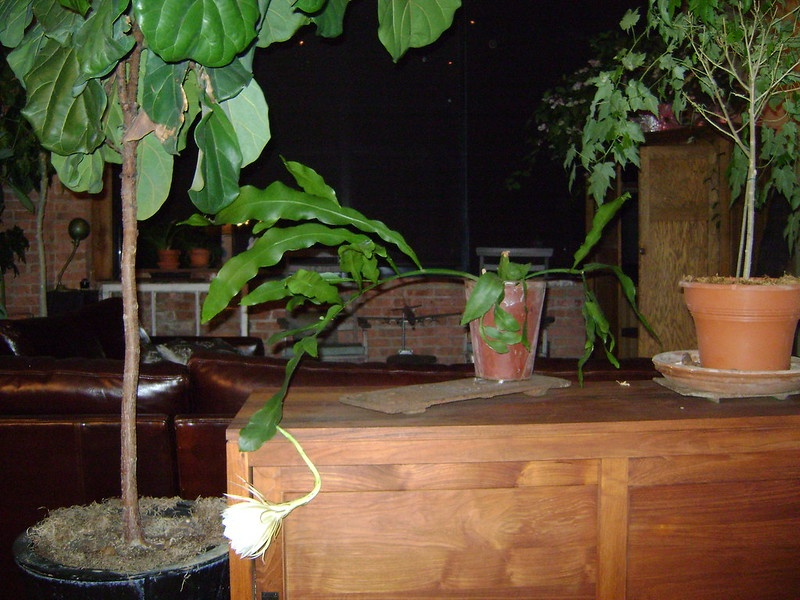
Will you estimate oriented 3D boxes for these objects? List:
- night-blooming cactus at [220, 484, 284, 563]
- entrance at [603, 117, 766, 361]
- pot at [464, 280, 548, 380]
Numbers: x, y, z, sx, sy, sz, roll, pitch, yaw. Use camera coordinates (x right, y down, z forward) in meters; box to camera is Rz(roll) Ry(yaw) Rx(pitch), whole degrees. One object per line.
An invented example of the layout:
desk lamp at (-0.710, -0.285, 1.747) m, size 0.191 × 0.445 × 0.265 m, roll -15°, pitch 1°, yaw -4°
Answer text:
night-blooming cactus at (-0.281, 0.443, 1.385) m, size 0.117 × 0.156 × 0.105 m, roll -2°, pitch 2°, yaw -11°
entrance at (1.633, -0.257, 4.161) m, size 0.091 × 1.336 × 0.459 m, roll -17°, pitch 14°, yaw -42°
pot at (0.207, 0.066, 1.623) m, size 0.206 × 0.221 × 0.217 m, roll 0°, pitch -1°, yaw 0°
